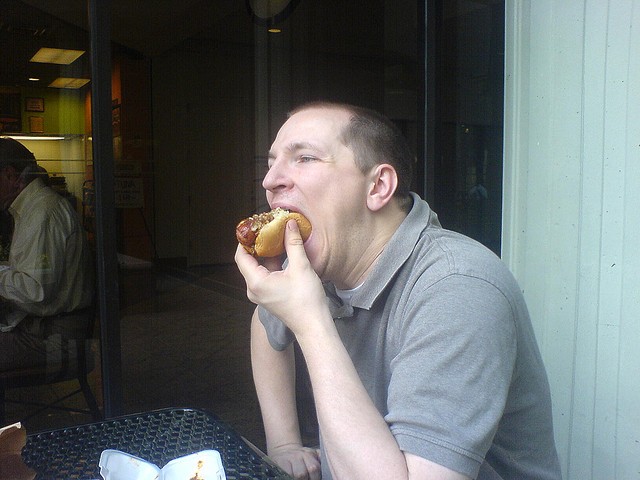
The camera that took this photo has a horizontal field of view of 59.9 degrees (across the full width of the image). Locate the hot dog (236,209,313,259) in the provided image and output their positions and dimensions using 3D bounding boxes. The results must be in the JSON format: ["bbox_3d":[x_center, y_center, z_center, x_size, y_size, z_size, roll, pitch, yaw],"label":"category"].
[{"bbox_3d":[-0.171,-0.029,1.964,0.214,0.096,0.159,-26,17,-35],"label":"hot dog"}]

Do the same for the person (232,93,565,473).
[{"bbox_3d":[0.223,0.148,1.800,0.704,1.209,0.878,-8,10,-41],"label":"person"}]
